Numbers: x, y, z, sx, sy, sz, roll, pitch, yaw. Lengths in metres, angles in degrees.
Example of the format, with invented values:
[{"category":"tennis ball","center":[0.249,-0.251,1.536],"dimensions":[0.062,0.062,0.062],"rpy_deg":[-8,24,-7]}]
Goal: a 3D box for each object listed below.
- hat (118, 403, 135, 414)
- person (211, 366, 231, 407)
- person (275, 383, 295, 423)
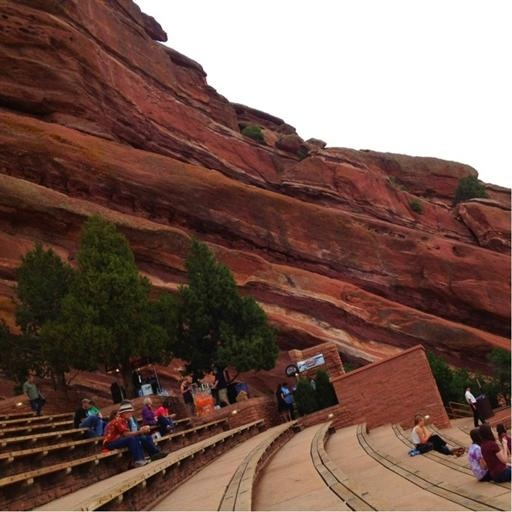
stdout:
[{"category":"hat","center":[-2.660,3.079,9.704],"dimensions":[0.319,0.161,0.319],"rpy_deg":[-11,-20,27]},{"category":"person","center":[-1.531,5.665,20.542],"dimensions":[0.633,1.525,2.578],"rpy_deg":[-11,-15,-7]},{"category":"person","center":[1.180,5.978,19.604],"dimensions":[0.646,1.446,0.945],"rpy_deg":[-12,-15,-2]}]
